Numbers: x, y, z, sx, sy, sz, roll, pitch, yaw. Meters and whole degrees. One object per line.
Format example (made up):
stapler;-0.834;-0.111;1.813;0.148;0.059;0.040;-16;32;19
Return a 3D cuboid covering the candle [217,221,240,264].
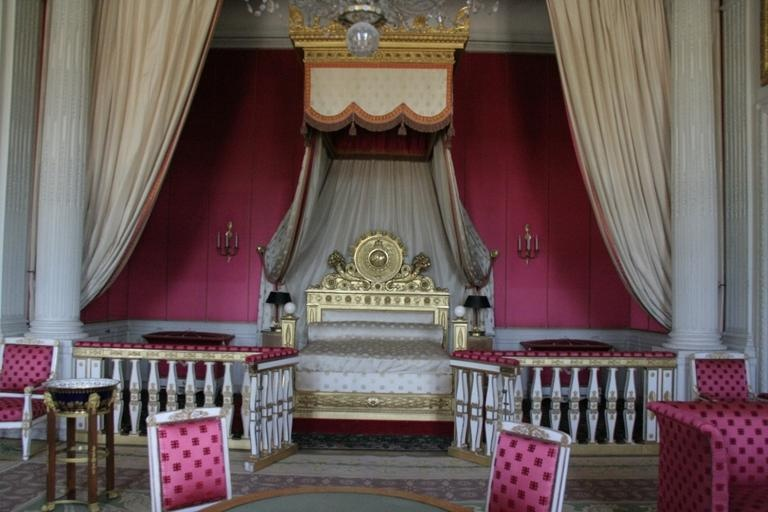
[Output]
candle;-2.537;-0.241;11.342;0.371;0.624;0.093;1;-8;-2

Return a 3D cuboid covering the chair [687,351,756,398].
chair;4.091;1.461;8.711;0.555;0.869;0.592;0;-4;8

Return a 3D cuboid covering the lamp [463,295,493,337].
lamp;1.422;0.878;10.691;0.397;0.649;0.440;-1;-8;8

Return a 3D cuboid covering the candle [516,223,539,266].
candle;2.330;-0.208;11.303;0.355;0.609;0.105;2;-8;-11

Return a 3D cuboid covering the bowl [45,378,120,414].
bowl;-3.257;1.491;7.574;0.784;0.315;0.821;1;-3;0

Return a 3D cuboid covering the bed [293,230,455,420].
bed;-0.107;0.907;10.230;2.279;2.723;2.074;1;-4;6
